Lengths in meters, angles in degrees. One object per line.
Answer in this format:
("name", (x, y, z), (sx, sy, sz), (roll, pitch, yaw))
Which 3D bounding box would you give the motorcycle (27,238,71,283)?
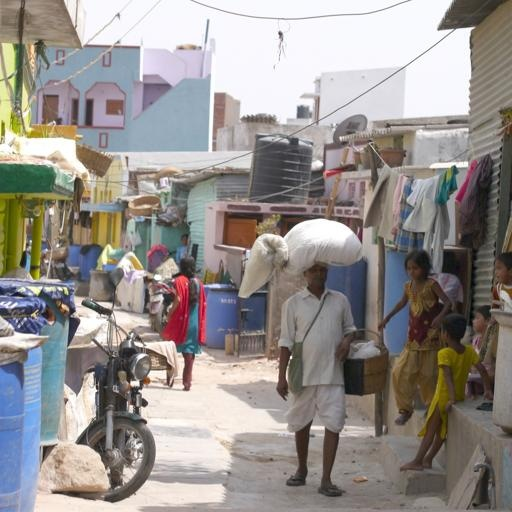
("motorcycle", (-5.197, 0.216, 25.401), (1.557, 0.958, 2.312), (1, 5, -10))

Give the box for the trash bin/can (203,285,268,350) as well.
("trash bin/can", (-0.388, 1.063, 16.480), (0.649, 1.118, 1.440), (0, 4, -33))

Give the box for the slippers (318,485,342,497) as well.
("slippers", (0.602, 1.861, 7.994), (0.214, 0.088, 0.199), (3, 3, -4))

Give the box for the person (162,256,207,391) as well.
("person", (-0.863, 0.868, 12.597), (0.587, 1.706, 0.409), (-1, 5, -41))

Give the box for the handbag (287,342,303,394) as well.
("handbag", (0.315, 0.906, 8.158), (0.094, 0.424, 0.202), (1, 4, -16))

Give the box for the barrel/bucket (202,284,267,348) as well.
("barrel/bucket", (-0.362, 0.963, 16.457), (0.861, 1.093, 0.941), (1, -3, 0))

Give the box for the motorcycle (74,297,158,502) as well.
("motorcycle", (-1.126, 1.093, 8.345), (0.705, 1.387, 1.878), (8, 6, -17))

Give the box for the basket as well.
("basket", (0.932, 0.885, 8.355), (0.355, 0.607, 0.517), (1, 4, 19))

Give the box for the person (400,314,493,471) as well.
("person", (1.488, 1.087, 7.826), (0.670, 1.270, 0.419), (4, 4, 15))

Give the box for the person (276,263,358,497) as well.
("person", (0.472, 0.995, 8.206), (0.624, 1.853, 0.625), (3, 4, 13))

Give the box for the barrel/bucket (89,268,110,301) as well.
("barrel/bucket", (-3.725, 0.698, 23.888), (0.561, 0.878, 0.745), (1, -4, 1))

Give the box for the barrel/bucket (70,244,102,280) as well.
("barrel/bucket", (-4.692, 0.182, 27.667), (0.767, 1.404, 0.817), (-3, -7, 0))

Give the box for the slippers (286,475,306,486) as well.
("slippers", (0.319, 1.850, 8.252), (0.116, 0.057, 0.075), (4, -5, 1))
